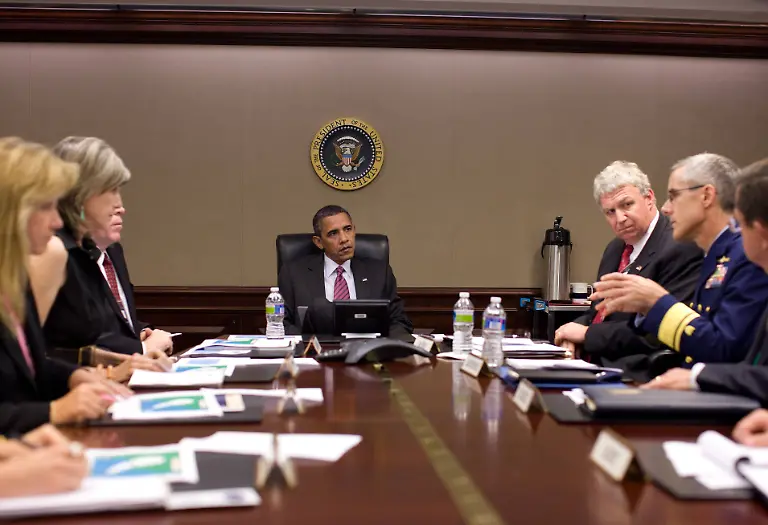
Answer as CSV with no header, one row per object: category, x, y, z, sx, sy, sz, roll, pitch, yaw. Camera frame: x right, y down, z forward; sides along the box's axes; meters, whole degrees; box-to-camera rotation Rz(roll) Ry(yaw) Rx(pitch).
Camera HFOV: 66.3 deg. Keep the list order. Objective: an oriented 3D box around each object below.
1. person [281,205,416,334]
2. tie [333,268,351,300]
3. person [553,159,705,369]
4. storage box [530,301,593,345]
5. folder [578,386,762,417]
person,-0.322,0.110,3.987,0.837,1.130,0.823,0,-21,-14
tie,-0.287,0.130,3.919,0.106,0.189,0.168,-2,13,-5
person,1.390,0.192,3.375,0.741,1.463,0.734,3,-1,24
storage box,1.438,0.453,4.962,0.516,0.534,0.388,0,-2,-3
folder,0.828,0.415,1.733,0.235,0.037,0.186,1,-1,0
